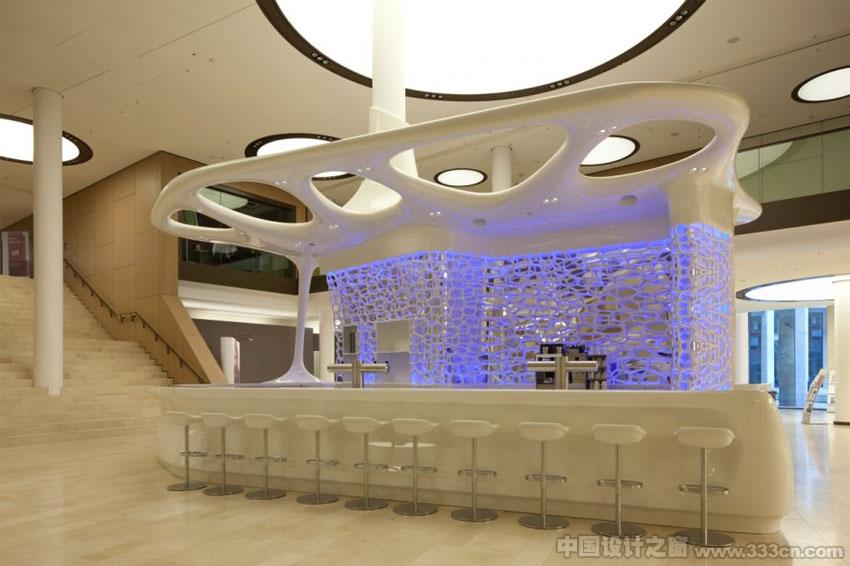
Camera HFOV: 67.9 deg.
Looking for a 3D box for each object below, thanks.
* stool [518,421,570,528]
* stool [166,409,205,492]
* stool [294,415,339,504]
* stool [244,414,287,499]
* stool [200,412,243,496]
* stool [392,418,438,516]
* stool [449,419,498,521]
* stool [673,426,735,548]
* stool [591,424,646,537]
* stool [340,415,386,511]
[{"bbox_3d":[1.420,2.244,7.575,0.583,1.266,0.600,0,5,12],"label":"stool"},{"bbox_3d":[-3.491,2.371,9.166,0.500,1.196,0.889,-3,5,-21],"label":"stool"},{"bbox_3d":[-1.479,2.313,8.453,0.535,1.193,0.655,-2,5,-17],"label":"stool"},{"bbox_3d":[-2.212,2.335,8.716,0.522,1.210,0.737,-2,5,-12],"label":"stool"},{"bbox_3d":[-2.895,2.367,8.964,0.503,1.199,0.875,-3,5,-19],"label":"stool"},{"bbox_3d":[-0.128,2.275,8.048,0.544,1.225,0.707,-1,5,0],"label":"stool"},{"bbox_3d":[0.598,2.259,7.800,0.560,1.231,0.602,0,5,4],"label":"stool"},{"bbox_3d":[3.188,2.258,7.146,0.579,1.318,0.645,4,7,40],"label":"stool"},{"bbox_3d":[2.259,2.243,7.356,0.594,1.299,0.622,1,5,18],"label":"stool"},{"bbox_3d":[-0.778,2.290,8.234,0.545,1.216,0.656,-1,5,-5],"label":"stool"}]
